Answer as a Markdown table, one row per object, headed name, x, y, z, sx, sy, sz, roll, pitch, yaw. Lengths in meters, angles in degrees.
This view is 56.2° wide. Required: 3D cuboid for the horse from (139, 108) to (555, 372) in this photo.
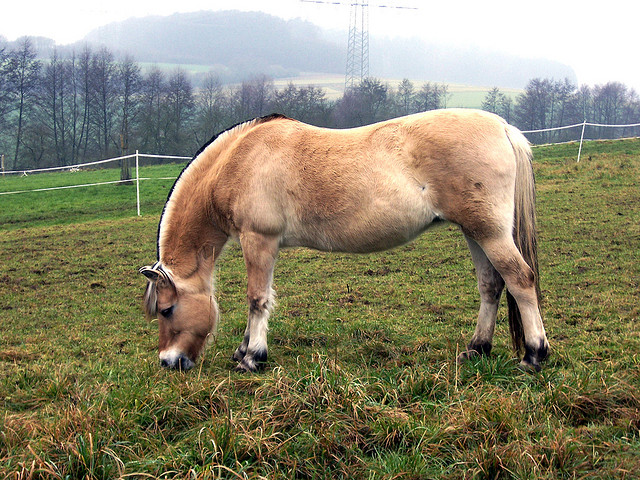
| name | x | y | z | sx | sy | sz | roll | pitch | yaw |
| --- | --- | --- | --- | --- | --- | --- | --- | --- | --- |
| horse | 0.254 | 0.050 | 7.594 | 4.851 | 3.217 | 1.410 | -1 | 5 | 6 |
